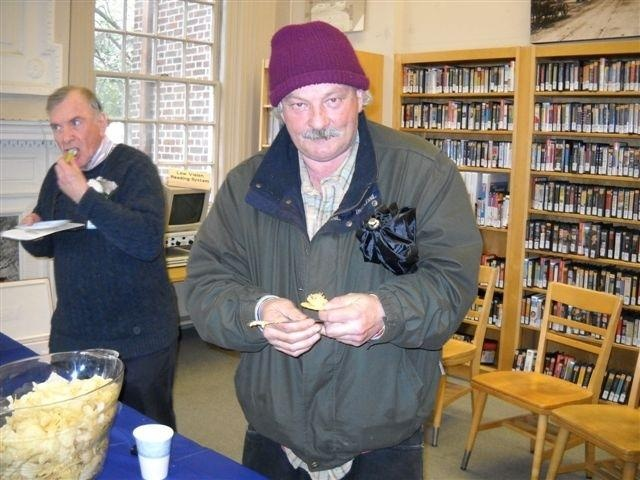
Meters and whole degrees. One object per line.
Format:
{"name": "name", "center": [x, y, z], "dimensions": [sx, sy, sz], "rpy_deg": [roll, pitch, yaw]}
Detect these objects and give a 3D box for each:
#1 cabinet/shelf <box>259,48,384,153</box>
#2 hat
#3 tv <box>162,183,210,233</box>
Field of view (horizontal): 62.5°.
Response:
{"name": "cabinet/shelf", "center": [0.022, -1.687, 5.741], "dimensions": [1.285, 0.442, 1.250], "rpy_deg": [3, 0, 1]}
{"name": "hat", "center": [-0.001, -0.600, 1.781], "dimensions": [0.355, 0.255, 0.351], "rpy_deg": [1, 7, 9]}
{"name": "tv", "center": [-1.276, -0.318, 4.839], "dimensions": [0.261, 0.414, 0.464], "rpy_deg": [24, 22, 32]}
